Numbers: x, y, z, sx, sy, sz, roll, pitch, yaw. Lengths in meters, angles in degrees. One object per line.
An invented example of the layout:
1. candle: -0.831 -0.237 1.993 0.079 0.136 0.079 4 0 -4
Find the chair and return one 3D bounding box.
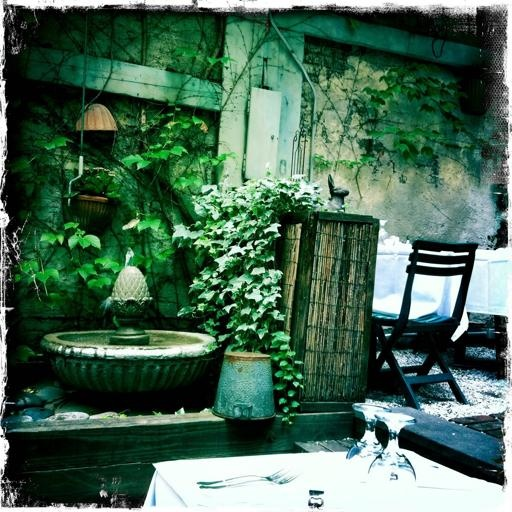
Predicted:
1. chair: 1.031 0.377 4.015 0.604 1.004 1.262 4 6 15

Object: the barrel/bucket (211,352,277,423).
1. barrel/bucket: -0.050 0.625 3.141 0.341 0.270 0.312 3 -1 0

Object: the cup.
1. cup: 0.470 0.639 2.288 0.290 0.253 0.198 1 -1 43
